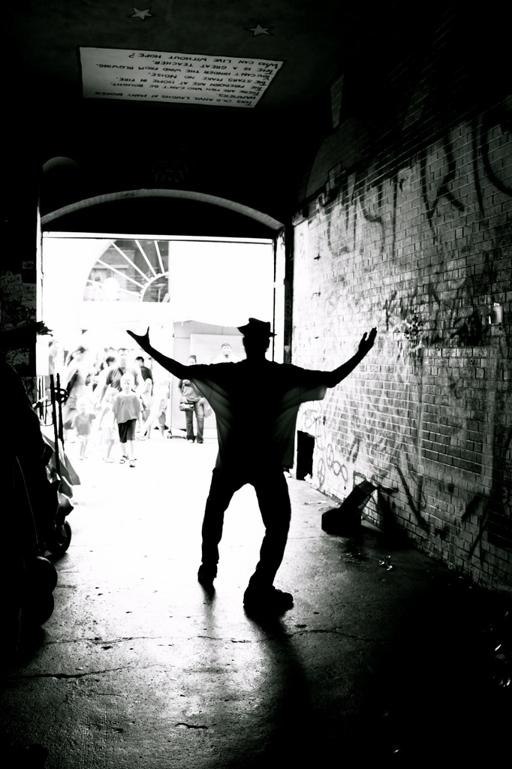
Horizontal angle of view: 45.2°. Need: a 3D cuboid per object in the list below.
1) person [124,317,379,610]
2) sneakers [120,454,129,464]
[{"bbox_3d":[-0.017,0.502,4.054,1.076,1.899,0.532,0,0,21],"label":"person"},{"bbox_3d":[-2.172,1.242,10.231,0.102,0.156,0.333,0,-5,-2],"label":"sneakers"}]
